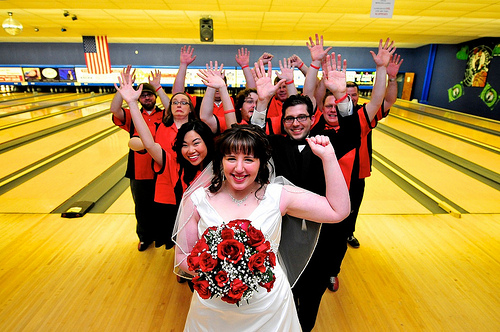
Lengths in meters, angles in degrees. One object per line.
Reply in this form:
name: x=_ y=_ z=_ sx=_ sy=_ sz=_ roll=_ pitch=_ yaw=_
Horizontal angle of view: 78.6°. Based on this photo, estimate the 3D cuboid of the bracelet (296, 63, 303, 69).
bracelet: x=0.667 y=-1.345 z=4.109 sx=0.073 sy=0.078 sz=0.056 roll=26 pitch=16 yaw=30

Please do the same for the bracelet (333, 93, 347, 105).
bracelet: x=0.838 y=-0.629 z=2.836 sx=0.096 sy=0.036 sz=0.080 roll=-36 pitch=3 yaw=-16

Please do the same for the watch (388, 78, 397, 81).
watch: x=1.619 y=-0.987 z=3.498 sx=0.059 sy=0.048 sz=0.062 roll=-5 pitch=14 yaw=-11

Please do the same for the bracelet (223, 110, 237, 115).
bracelet: x=-0.211 y=-0.576 z=3.243 sx=0.115 sy=0.077 sz=0.177 roll=-3 pitch=20 yaw=-5

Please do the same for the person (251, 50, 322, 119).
person: x=0.466 y=-1.052 z=3.925 sx=0.897 sy=0.977 sz=0.273 roll=-10 pitch=2 yaw=24

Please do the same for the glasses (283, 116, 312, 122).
glasses: x=0.432 y=-0.428 z=2.780 sx=0.228 sy=0.061 sz=0.042 roll=1 pitch=19 yaw=5

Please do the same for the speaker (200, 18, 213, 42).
speaker: x=-0.882 y=-2.808 z=6.283 sx=0.248 sy=0.442 sz=0.251 roll=-3 pitch=19 yaw=-4

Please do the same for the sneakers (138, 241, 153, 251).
sneakers: x=-1.218 y=0.934 z=3.596 sx=0.054 sy=0.087 sz=0.140 roll=-13 pitch=28 yaw=41
